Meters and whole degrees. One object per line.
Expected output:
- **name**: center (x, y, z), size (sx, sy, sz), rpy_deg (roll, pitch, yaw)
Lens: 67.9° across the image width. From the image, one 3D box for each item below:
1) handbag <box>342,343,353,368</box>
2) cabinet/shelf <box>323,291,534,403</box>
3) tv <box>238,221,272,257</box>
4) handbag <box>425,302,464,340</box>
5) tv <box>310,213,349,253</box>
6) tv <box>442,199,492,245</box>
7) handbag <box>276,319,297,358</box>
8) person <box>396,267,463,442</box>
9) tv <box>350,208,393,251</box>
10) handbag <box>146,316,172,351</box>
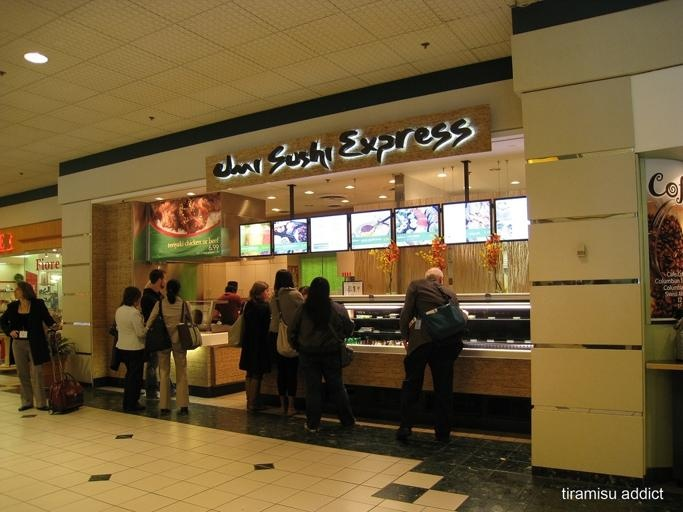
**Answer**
- **handbag**: center (0.073, 1.215, 6.188), size (0.127, 0.301, 0.364), rpy_deg (-1, -8, 19)
- **cabinet/shelf**: center (1.132, 1.032, 6.344), size (2.755, 1.228, 0.701), rpy_deg (-4, 2, 31)
- **tv**: center (-1.407, -0.276, 8.400), size (0.641, 0.511, 0.085), rpy_deg (-1, 0, 36)
- **handbag**: center (1.134, 0.702, 5.493), size (0.449, 0.339, 0.195), rpy_deg (-2, -1, -17)
- **tv**: center (-0.166, -0.345, 7.649), size (0.628, 0.502, 0.074), rpy_deg (2, 2, 28)
- **tv**: center (1.747, -0.464, 6.993), size (0.691, 0.548, 0.067), rpy_deg (-1, -2, 25)
- **handbag**: center (-0.678, 1.027, 6.373), size (0.275, 0.502, 0.496), rpy_deg (0, -12, 5)
- **person**: center (0.980, 1.140, 5.564), size (0.773, 1.560, 0.362), rpy_deg (-2, -1, 1)
- **tv**: center (0.457, -0.375, 7.394), size (0.658, 0.519, 0.072), rpy_deg (1, 2, 27)
- **handbag**: center (-2.465, 1.055, 6.868), size (0.424, 0.511, 0.214), rpy_deg (-9, -7, 10)
